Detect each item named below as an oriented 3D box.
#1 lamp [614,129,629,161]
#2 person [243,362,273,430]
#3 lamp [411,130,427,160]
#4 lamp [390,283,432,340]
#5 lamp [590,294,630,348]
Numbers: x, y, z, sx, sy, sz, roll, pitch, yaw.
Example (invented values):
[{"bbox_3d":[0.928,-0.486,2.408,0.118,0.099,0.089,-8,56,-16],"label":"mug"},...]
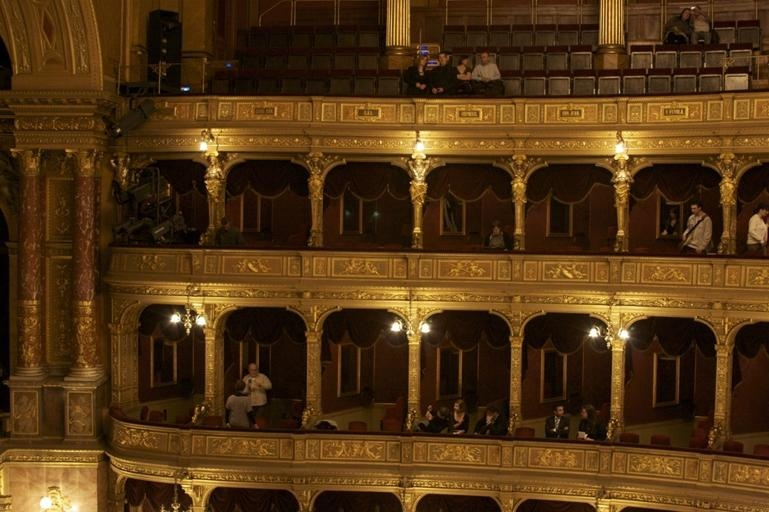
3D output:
[{"bbox_3d":[7.459,-3.483,54.898,0.448,0.850,0.523,-2,-14,6],"label":"lamp"},{"bbox_3d":[-4.128,4.518,55.609,0.818,2.246,0.684,-4,11,-9],"label":"person"},{"bbox_3d":[1.076,-3.548,55.440,0.434,0.786,0.488,0,-14,1],"label":"lamp"},{"bbox_3d":[0.886,1.681,55.558,1.400,1.821,1.349,2,6,22],"label":"lamp"},{"bbox_3d":[7.187,1.983,55.261,1.428,2.141,1.516,3,11,10],"label":"lamp"}]
